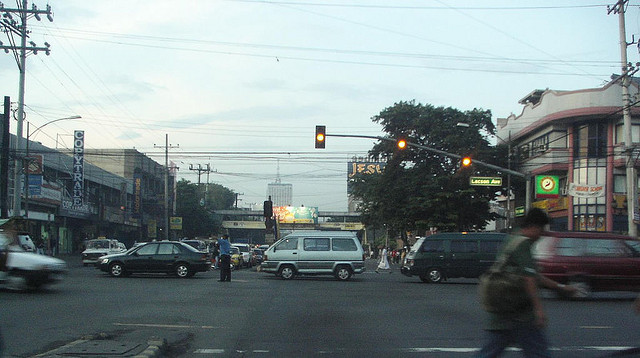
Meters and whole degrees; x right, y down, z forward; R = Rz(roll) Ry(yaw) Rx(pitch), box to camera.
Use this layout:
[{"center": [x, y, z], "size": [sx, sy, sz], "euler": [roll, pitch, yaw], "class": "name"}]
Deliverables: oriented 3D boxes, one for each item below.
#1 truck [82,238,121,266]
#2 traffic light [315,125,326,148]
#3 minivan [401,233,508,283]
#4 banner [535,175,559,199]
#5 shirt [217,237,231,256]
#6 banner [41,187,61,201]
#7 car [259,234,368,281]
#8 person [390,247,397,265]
[{"center": [-17.993, 5.992, 65.796], "size": [2.703, 1.644, 3.701], "euler": [0, -7, -2], "class": "truck"}, {"center": [0.045, -2.762, 52.437], "size": [0.576, 1.349, 0.410], "euler": [2, -10, -11], "class": "traffic light"}, {"center": [8.957, 5.027, 52.402], "size": [6.969, 2.508, 3.131], "euler": [1, -6, 2], "class": "minivan"}, {"center": [19.968, 0.601, 69.822], "size": [2.363, 1.906, 0.719], "euler": [0, -7, 2], "class": "banner"}, {"center": [-6.135, 4.316, 51.114], "size": [0.728, 1.156, 1.080], "euler": [1, -9, -7], "class": "shirt"}, {"center": [-26.137, 1.382, 77.303], "size": [0.824, 0.536, 3.202], "euler": [-16, -9, 7], "class": "banner"}, {"center": [-0.428, 5.181, 54.080], "size": [6.511, 2.348, 2.978], "euler": [1, -6, 1], "class": "car"}, {"center": [8.595, 8.861, 92.132], "size": [0.579, 0.913, 1.931], "euler": [-5, -46, 8], "class": "person"}]
